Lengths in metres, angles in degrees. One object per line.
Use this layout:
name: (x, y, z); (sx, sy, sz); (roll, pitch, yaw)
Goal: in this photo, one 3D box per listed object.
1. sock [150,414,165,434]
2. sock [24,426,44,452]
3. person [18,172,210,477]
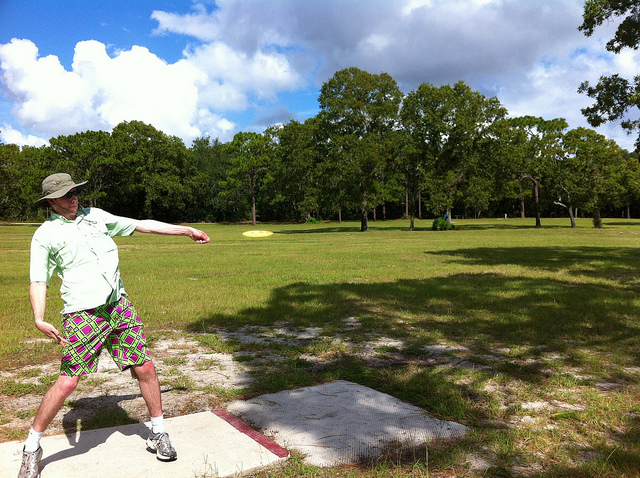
sock: (-1.727, 1.973, 5.376); (0.116, 0.159, 0.173); (-1, 1, -27)
sock: (-2.903, 2.018, 5.101); (0.146, 0.214, 0.119); (0, 1, -13)
person: (-2.396, 0.814, 5.454); (1.413, 3.072, 0.994); (-1, 1, -18)
